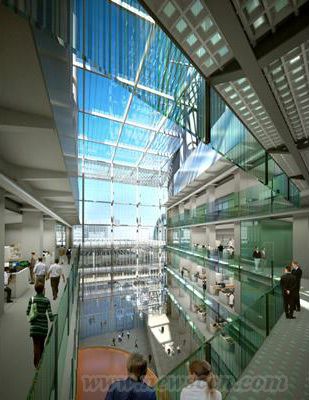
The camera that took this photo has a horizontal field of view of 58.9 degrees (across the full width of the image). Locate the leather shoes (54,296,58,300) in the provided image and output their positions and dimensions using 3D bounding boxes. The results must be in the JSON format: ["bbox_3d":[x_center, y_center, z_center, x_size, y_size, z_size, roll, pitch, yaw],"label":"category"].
[{"bbox_3d":[-2.519,2.467,6.977,0.083,0.147,0.068,0,3,-5],"label":"leather shoes"}]

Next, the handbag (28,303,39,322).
[{"bbox_3d":[-1.748,1.620,3.979,0.121,0.257,0.158,4,-7,-33],"label":"handbag"}]

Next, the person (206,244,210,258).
[{"bbox_3d":[2.848,2.698,14.527,0.176,0.640,2.032,-1,-8,11],"label":"person"}]

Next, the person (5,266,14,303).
[{"bbox_3d":[-3.700,2.162,7.002,0.202,0.774,1.541,3,-8,-27],"label":"person"}]

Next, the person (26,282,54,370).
[{"bbox_3d":[-1.680,1.813,4.126,0.393,1.446,0.277,-9,20,-45],"label":"person"}]

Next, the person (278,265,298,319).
[{"bbox_3d":[3.193,2.304,6.577,0.338,1.149,0.595,-3,-7,27],"label":"person"}]

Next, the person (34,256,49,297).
[{"bbox_3d":[-2.990,1.968,7.236,0.279,1.227,0.289,-3,23,-32],"label":"person"}]
